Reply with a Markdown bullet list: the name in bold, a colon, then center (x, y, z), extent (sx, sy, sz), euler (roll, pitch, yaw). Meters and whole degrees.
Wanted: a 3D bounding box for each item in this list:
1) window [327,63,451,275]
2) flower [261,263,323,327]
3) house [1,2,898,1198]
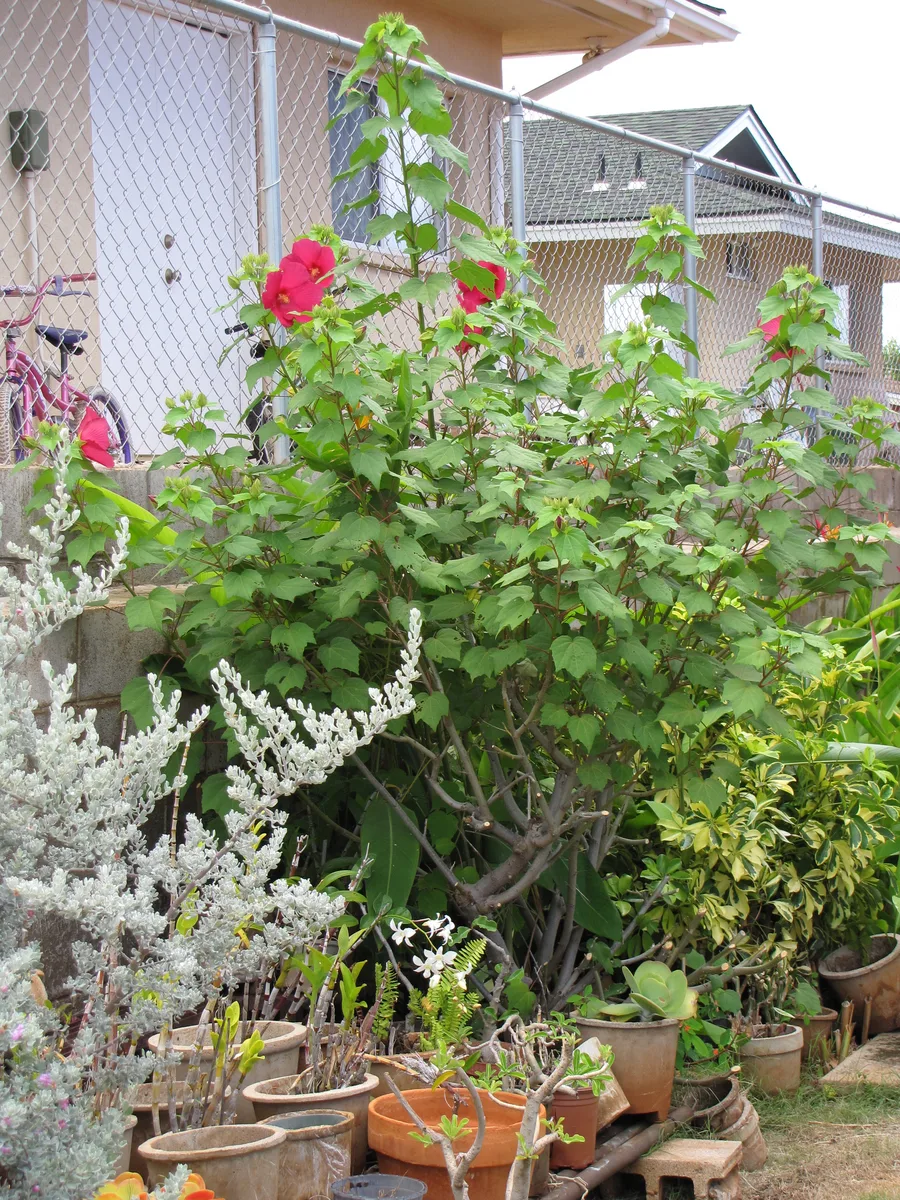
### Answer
- **window**: center (-0.330, -2.084, 5.108), extent (0.582, 0.902, 0.066), euler (-2, -1, -4)
- **flower**: center (-0.383, -0.721, 2.544), extent (0.145, 0.145, 0.063), euler (1, -8, 18)
- **house**: center (0.051, -0.071, 2.850), extent (1.811, 2.371, 1.633), euler (1, -8, 21)
